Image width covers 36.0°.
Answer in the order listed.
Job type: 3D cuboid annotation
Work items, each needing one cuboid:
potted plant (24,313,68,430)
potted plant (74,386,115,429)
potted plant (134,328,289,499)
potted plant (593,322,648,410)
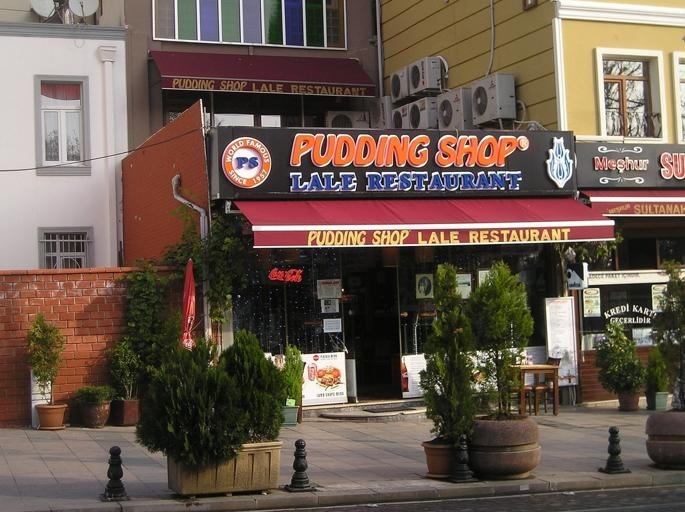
[{"bbox_3d":[-6.332,2.428,22.430,0.774,2.425,0.707,-1,-4,-18],"label":"potted plant"},{"bbox_3d":[-5.282,3.222,22.640,0.827,0.983,0.835,0,-8,0],"label":"potted plant"},{"bbox_3d":[-2.209,2.735,18.089,2.424,2.755,1.850,-3,-4,-18],"label":"potted plant"},{"bbox_3d":[6.357,2.530,24.208,1.066,2.041,0.541,-3,-4,13],"label":"potted plant"}]
